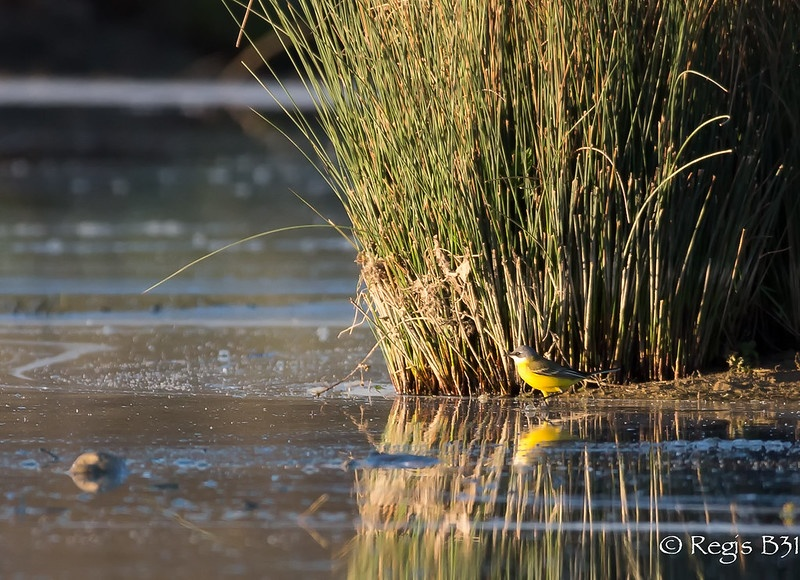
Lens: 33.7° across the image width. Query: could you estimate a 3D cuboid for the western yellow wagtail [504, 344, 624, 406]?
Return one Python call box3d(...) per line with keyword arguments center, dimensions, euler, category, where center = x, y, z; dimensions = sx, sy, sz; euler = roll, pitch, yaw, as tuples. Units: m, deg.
box3d(center=(0.855, 0.415, 6.746), dimensions=(0.584, 0.254, 0.148), euler=(0, -4, -8), category="western yellow wagtail")
